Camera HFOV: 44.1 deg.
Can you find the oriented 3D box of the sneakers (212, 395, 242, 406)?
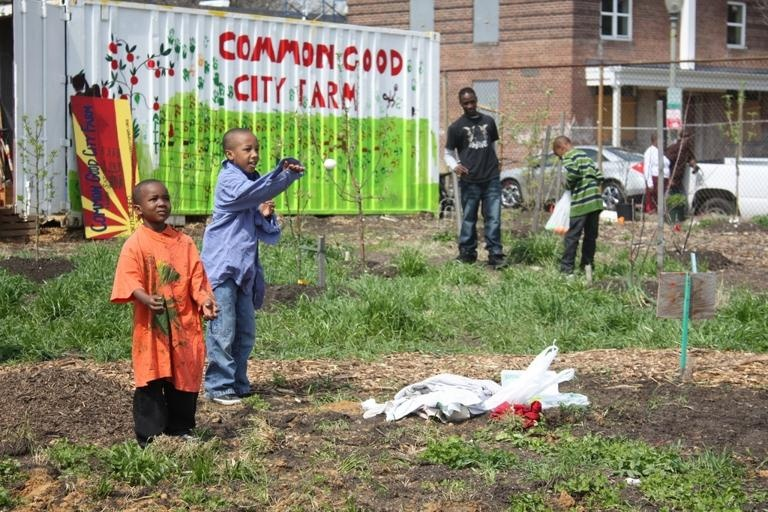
[{"bbox_3d":[-1.618,1.446,9.674,0.238,0.103,0.123,7,2,5],"label":"sneakers"}]

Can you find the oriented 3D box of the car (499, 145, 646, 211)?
[{"bbox_3d":[3.974,-1.728,20.962,3.445,1.362,1.478,4,4,27],"label":"car"}]

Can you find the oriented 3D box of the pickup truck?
[{"bbox_3d":[7.367,-1.426,19.968,1.910,1.185,1.047,0,4,41],"label":"pickup truck"}]

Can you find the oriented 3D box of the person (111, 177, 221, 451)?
[{"bbox_3d":[-2.030,0.534,8.731,0.889,2.427,0.420,0,5,-12],"label":"person"}]

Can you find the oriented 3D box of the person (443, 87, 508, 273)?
[{"bbox_3d":[1.390,-1.172,14.477,0.956,2.710,0.736,2,5,4],"label":"person"}]

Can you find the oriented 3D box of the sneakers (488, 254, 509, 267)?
[{"bbox_3d":[1.718,0.104,14.549,0.134,0.175,0.357,0,-2,-15],"label":"sneakers"}]

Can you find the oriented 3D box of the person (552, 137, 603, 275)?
[{"bbox_3d":[2.801,-0.731,13.864,0.686,1.984,0.487,2,5,10],"label":"person"}]
